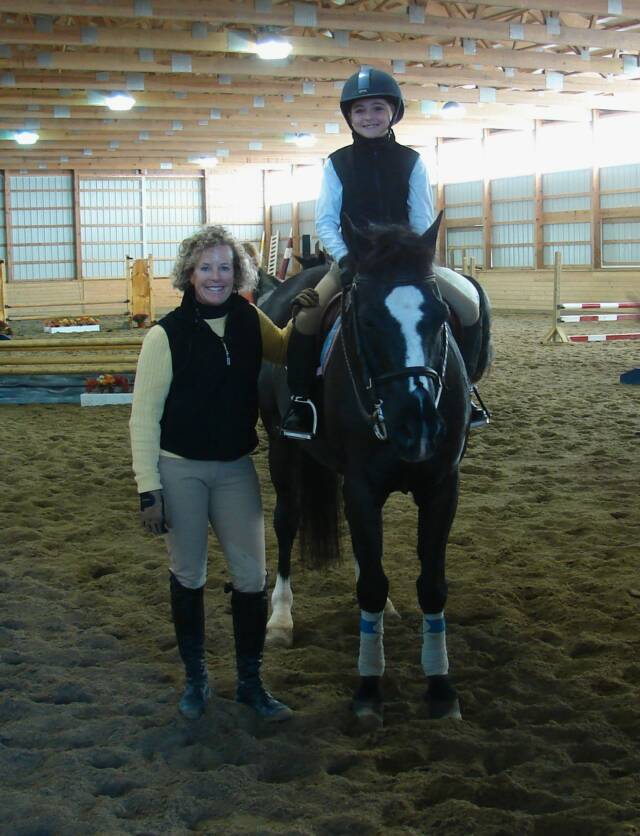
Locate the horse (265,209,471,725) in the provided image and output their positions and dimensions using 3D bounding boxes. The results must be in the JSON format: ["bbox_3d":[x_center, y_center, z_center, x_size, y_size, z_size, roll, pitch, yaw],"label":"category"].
[{"bbox_3d":[0.195,0.269,2.592,0.545,1.387,1.935,-2,-5,-5],"label":"horse"}]

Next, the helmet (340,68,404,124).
[{"bbox_3d":[0.172,-1.088,2.371,0.178,0.169,0.217,-3,7,16],"label":"helmet"}]
